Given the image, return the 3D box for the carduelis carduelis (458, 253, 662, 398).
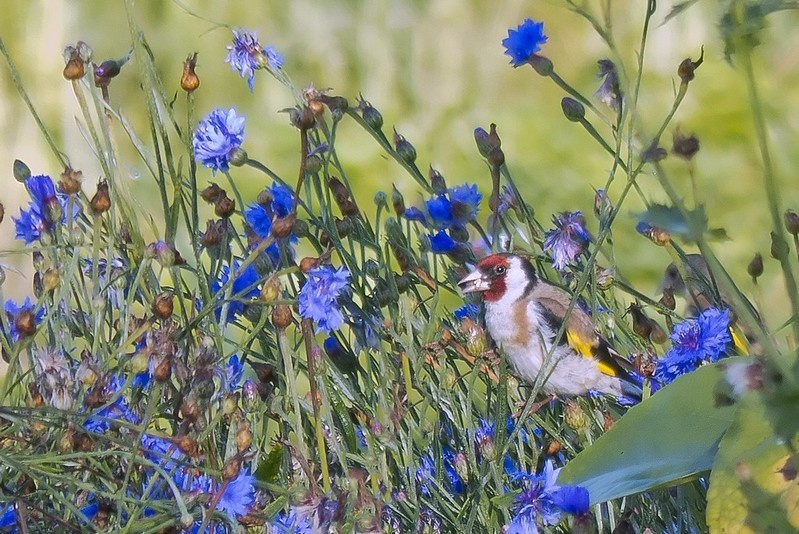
[{"bbox_3d":[0.356,0.133,2.697,0.502,0.324,0.183,3,8,-24],"label":"carduelis carduelis"}]
